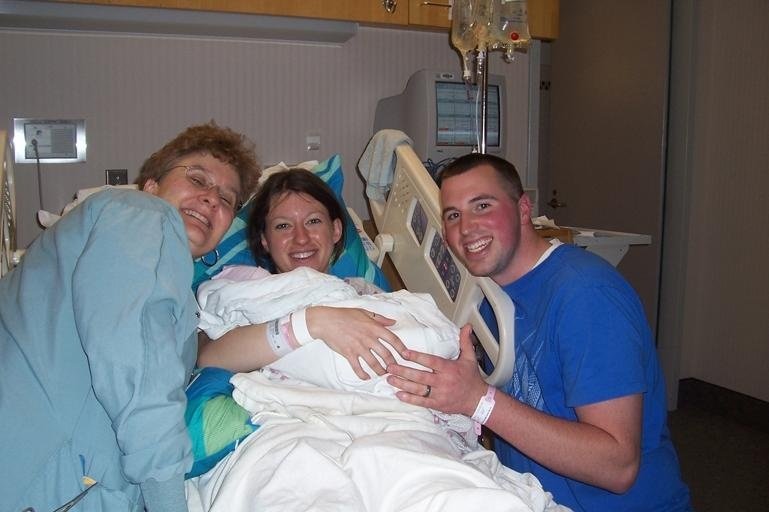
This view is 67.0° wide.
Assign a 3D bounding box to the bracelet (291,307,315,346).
[{"bbox_3d":[-0.334,0.280,2.311,0.063,0.112,0.111,-14,-35,-6],"label":"bracelet"}]

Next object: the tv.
[{"bbox_3d":[0.403,-0.931,4.147,0.687,0.595,0.722,-12,21,-34],"label":"tv"}]

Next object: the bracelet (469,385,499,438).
[{"bbox_3d":[0.383,0.584,2.205,0.036,0.162,0.116,28,-6,16],"label":"bracelet"}]

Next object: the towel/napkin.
[{"bbox_3d":[0.059,-0.517,3.407,0.150,0.378,0.375,-3,48,-36],"label":"towel/napkin"}]

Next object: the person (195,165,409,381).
[{"bbox_3d":[-0.404,0.053,2.591,0.716,1.024,0.338,-1,-22,-34],"label":"person"}]
